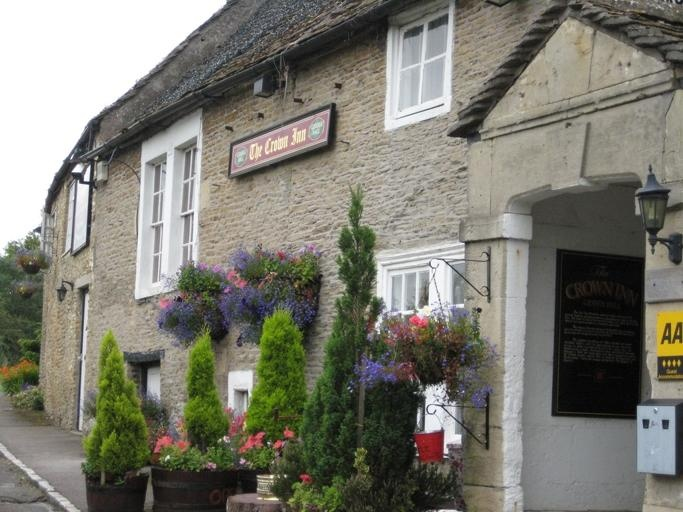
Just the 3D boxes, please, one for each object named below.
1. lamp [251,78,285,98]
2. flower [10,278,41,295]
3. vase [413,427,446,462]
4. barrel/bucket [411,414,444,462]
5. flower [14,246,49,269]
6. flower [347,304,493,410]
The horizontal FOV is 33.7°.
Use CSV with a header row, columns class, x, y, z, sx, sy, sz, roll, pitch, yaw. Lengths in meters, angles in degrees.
class,x,y,z,sx,sy,sz,roll,pitch,yaw
lamp,-1.013,-2.333,15.630,0.272,0.266,0.323,-14,-24,42
flower,-10.420,1.034,37.206,0.706,0.429,0.743,1,-10,-9
vase,0.905,1.945,11.474,0.287,0.317,0.264,-1,-10,1
barrel/bucket,0.890,1.924,11.521,0.330,0.299,0.359,0,-2,0
flower,-7.013,0.096,25.532,0.487,0.367,0.485,11,-13,-42
flower,0.878,1.119,11.510,1.016,0.798,1.061,3,-9,-29
